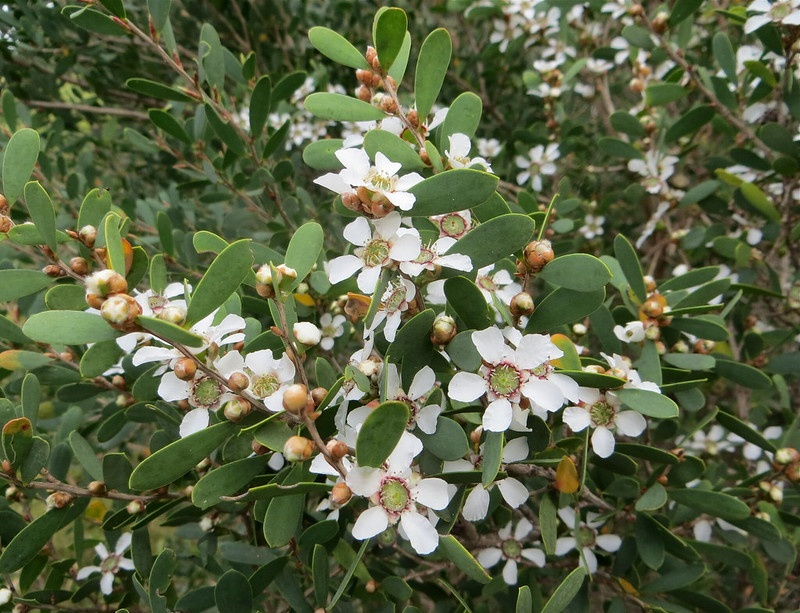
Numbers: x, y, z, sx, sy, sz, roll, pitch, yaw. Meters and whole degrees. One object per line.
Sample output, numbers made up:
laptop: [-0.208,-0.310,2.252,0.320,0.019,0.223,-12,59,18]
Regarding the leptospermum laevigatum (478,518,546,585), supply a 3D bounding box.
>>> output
leptospermum laevigatum: [0.352,0.810,2.437,0.210,0.221,0.170,-28,69,-10]
